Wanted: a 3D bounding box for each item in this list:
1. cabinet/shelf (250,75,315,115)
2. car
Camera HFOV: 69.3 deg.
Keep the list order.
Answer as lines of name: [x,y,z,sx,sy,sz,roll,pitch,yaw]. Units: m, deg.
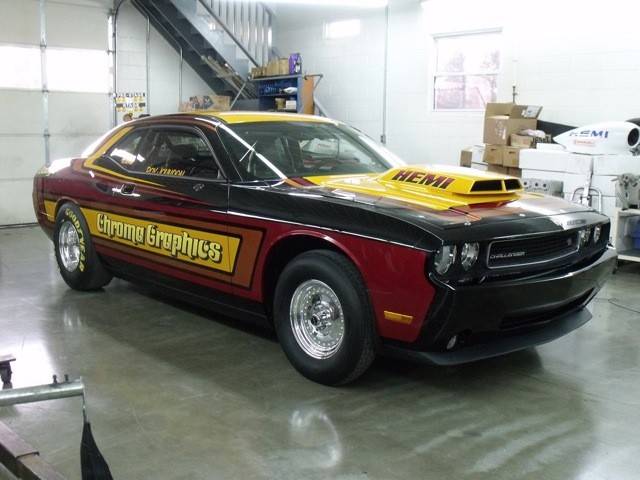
cabinet/shelf: [-0.917,-3.322,10.893,1.381,0.877,0.727,3,5,12]
car: [-0.437,-0.191,3.936,4.825,1.703,1.689,8,14,36]
